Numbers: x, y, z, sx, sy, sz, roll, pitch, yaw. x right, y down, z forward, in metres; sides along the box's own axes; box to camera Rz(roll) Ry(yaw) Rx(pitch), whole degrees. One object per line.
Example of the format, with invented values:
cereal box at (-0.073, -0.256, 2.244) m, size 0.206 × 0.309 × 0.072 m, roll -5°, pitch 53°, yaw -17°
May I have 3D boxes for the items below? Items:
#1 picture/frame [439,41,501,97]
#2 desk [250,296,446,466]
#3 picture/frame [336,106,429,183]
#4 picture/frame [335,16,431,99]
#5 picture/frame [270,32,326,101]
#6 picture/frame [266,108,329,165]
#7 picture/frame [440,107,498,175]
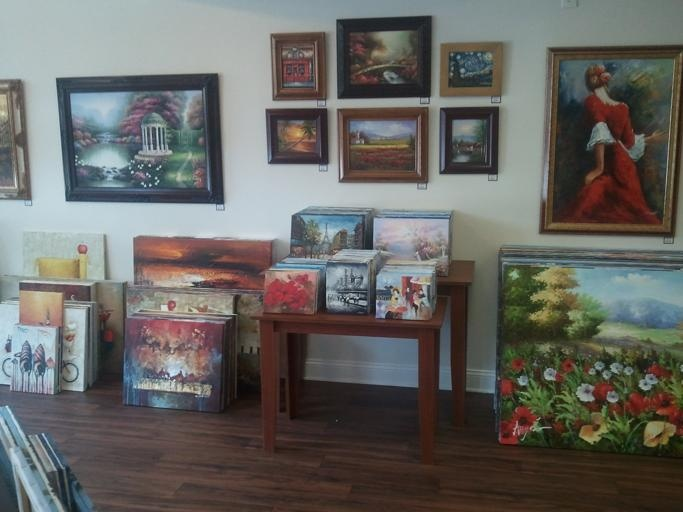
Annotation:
picture/frame at (0.994, -1.447, 4.565) m, size 0.431 × 0.363 × 0.030 m, roll 1°, pitch 13°, yaw 10°
desk at (0.140, 0.833, 4.343) m, size 1.303 × 0.978 × 1.014 m, roll -1°, pitch 4°, yaw 20°
picture/frame at (0.352, -0.908, 4.755) m, size 0.620 × 0.483 × 0.046 m, roll 0°, pitch 5°, yaw 5°
picture/frame at (0.346, -1.577, 4.656) m, size 0.646 × 0.523 × 0.057 m, roll 0°, pitch 8°, yaw 2°
picture/frame at (-0.337, -1.536, 4.778) m, size 0.534 × 0.562 × 0.041 m, roll 1°, pitch 9°, yaw 8°
picture/frame at (-0.347, -0.989, 4.869) m, size 0.462 × 0.391 × 0.033 m, roll 1°, pitch 9°, yaw 12°
picture/frame at (1.001, -0.915, 4.638) m, size 0.517 × 0.587 × 0.049 m, roll 1°, pitch 7°, yaw 7°
